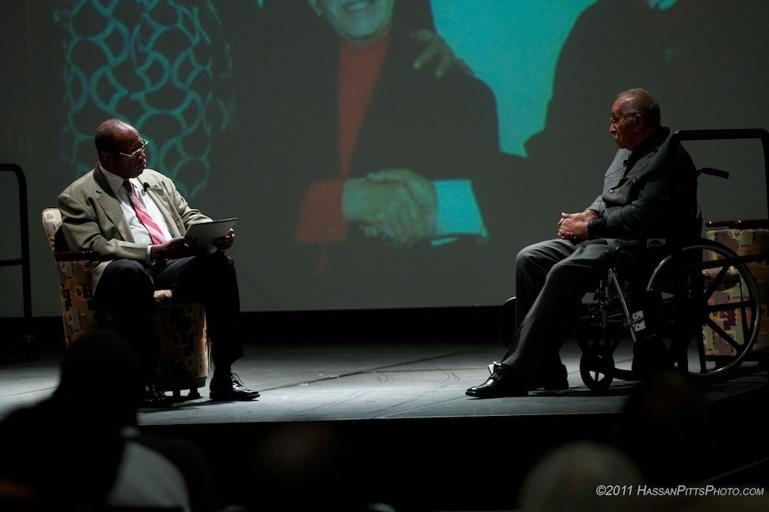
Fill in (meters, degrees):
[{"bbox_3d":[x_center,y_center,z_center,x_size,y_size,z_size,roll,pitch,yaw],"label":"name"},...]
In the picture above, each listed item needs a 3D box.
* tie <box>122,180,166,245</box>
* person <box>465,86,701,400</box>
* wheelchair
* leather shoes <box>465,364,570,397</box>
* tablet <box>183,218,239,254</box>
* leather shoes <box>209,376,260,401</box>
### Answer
[{"bbox_3d":[-1.213,-0.203,3.197,0.066,0.357,0.052,-28,-12,-21],"label":"tie"},{"bbox_3d":[1.011,-0.087,3.087,0.743,1.270,1.809,-5,5,-39],"label":"person"},{"bbox_3d":[1.408,0.045,3.385,1.128,1.098,0.912,-2,2,4],"label":"wheelchair"},{"bbox_3d":[0.622,0.566,2.945,0.504,0.140,0.100,0,4,-11],"label":"leather shoes"},{"bbox_3d":[-0.805,-0.101,2.979,0.247,0.172,0.228,-9,14,-15],"label":"tablet"},{"bbox_3d":[-0.687,0.635,3.055,0.268,0.120,0.099,1,-4,-2],"label":"leather shoes"}]
